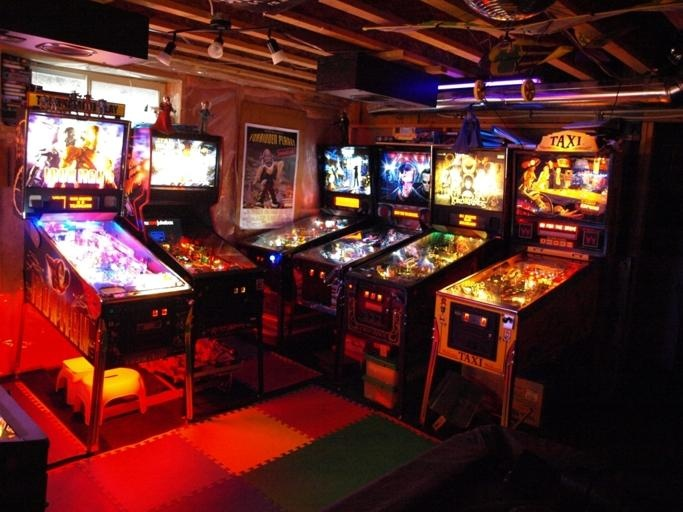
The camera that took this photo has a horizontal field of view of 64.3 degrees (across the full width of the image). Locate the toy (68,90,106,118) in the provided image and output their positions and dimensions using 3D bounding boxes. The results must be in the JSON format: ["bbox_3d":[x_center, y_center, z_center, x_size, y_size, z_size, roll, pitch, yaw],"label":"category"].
[{"bbox_3d":[-2.172,-1.278,4.665,0.265,0.191,0.197,1,13,-3],"label":"toy"}]

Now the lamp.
[{"bbox_3d":[-1.119,-1.862,4.860,1.087,0.388,0.994,12,17,36],"label":"lamp"}]

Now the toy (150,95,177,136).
[{"bbox_3d":[-1.738,-1.335,5.274,0.204,0.364,0.377,-3,14,-18],"label":"toy"}]
